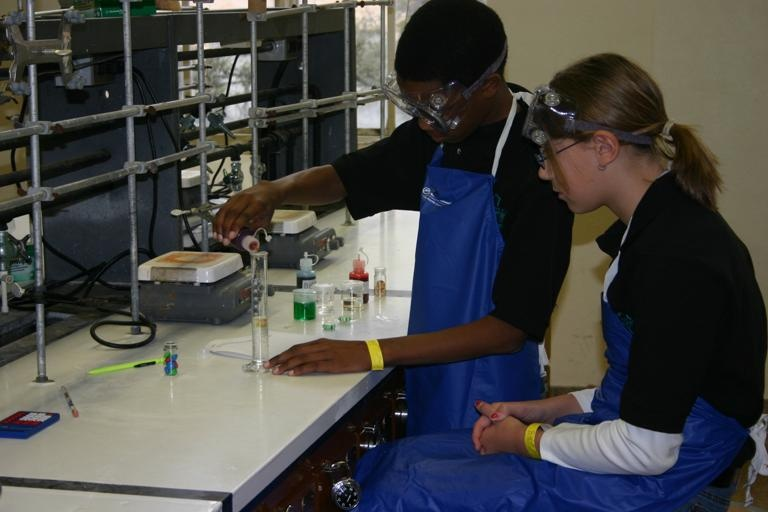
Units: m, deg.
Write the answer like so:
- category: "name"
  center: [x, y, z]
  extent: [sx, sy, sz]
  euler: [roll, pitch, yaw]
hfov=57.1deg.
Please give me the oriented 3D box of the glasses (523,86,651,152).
- category: "glasses"
  center: [0.501, -0.337, 1.792]
  extent: [0.238, 0.083, 0.161]
  euler: [16, 8, 7]

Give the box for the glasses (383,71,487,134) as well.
- category: "glasses"
  center: [0.149, -0.489, 2.073]
  extent: [0.231, 0.084, 0.173]
  euler: [-42, 37, -13]
